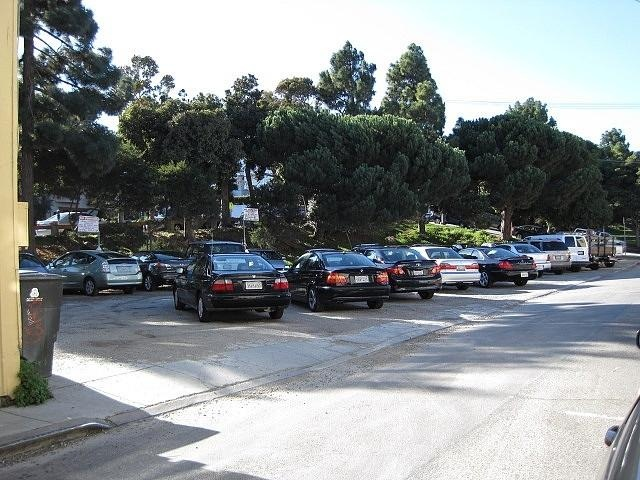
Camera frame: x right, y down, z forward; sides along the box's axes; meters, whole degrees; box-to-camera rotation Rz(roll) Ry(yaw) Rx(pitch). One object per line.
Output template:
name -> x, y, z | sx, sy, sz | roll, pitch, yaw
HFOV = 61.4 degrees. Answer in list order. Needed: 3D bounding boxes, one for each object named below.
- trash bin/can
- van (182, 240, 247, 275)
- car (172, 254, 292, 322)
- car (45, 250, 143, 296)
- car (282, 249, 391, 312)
trash bin/can -> -4.130, 1.300, 7.931 | 0.464, 1.562, 0.634 | 2, 4, 41
van -> -3.952, 0.419, 20.314 | 1.332, 1.290, 2.365 | -1, 4, -23
car -> -2.521, 1.220, 14.195 | 3.303, 1.732, 1.758 | 1, 3, 40
car -> -8.577, 1.211, 20.659 | 3.220, 1.612, 1.288 | 0, 3, 29
car -> 0.413, 1.204, 16.131 | 3.050, 1.701, 1.619 | 1, 3, 41
